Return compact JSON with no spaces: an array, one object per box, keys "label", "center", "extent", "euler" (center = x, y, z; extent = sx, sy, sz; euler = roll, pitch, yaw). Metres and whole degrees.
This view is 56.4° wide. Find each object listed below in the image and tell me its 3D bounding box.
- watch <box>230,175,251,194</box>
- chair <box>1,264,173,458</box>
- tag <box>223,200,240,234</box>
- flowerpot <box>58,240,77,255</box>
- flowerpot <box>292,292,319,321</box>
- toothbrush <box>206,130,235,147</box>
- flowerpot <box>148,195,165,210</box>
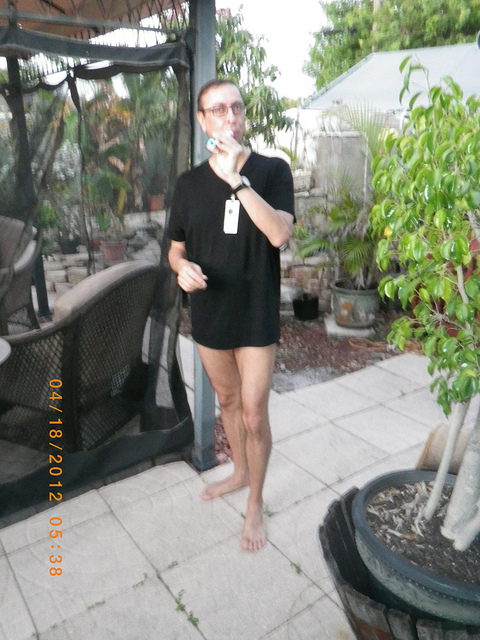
[{"label":"watch","center":[0.006,-0.437,1.440],"extent":[0.061,0.047,0.052],"euler":[-6,14,-19]},{"label":"chair","center":[-0.755,0.172,2.152],"extent":[0.476,0.770,0.605],"euler":[19,29,24]},{"label":"tag","center":[-0.029,-0.370,1.604],"extent":[0.054,0.116,0.035],"euler":[-2,12,-4]},{"label":"flowerpot","center":[-0.742,-0.317,1.947],"extent":[0.082,0.090,0.050],"euler":[-3,19,-16]},{"label":"flowerpot","center":[0.797,-0.169,5.399],"extent":[0.261,0.434,0.274],"euler":[3,5,31]},{"label":"toothbrush","center":[-0.054,-0.562,1.407],"extent":[0.038,0.043,0.137],"euler":[5,14,35]},{"label":"flowerpot","center":[-0.404,-0.576,2.188],"extent":[0.062,0.056,0.070],"euler":[5,27,15]}]
